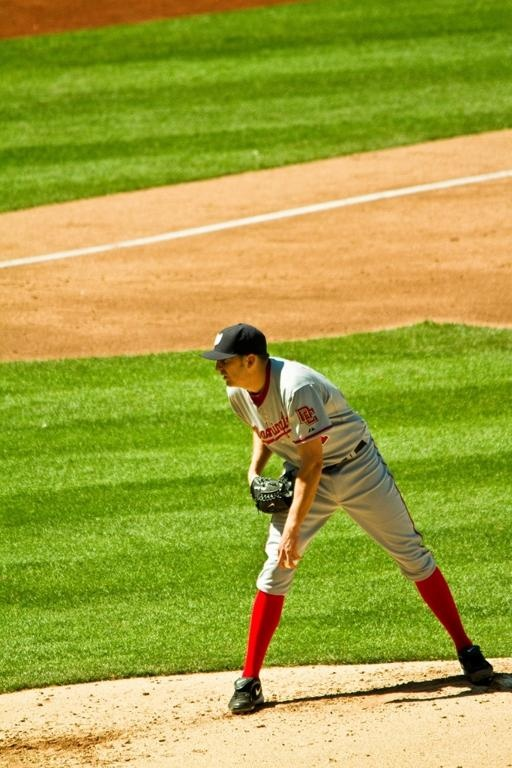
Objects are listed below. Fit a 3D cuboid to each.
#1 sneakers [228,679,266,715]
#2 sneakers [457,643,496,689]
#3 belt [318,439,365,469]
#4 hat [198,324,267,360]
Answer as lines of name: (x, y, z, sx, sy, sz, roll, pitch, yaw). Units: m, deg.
sneakers: (-0.061, 1.892, 10.416, 0.098, 0.170, 0.325, -2, -10, 14)
sneakers: (1.349, 1.711, 10.482, 0.130, 0.146, 0.324, -33, 47, 5)
belt: (0.550, 0.445, 10.462, 0.278, 0.174, 0.047, -5, 8, -12)
hat: (-0.098, -0.251, 10.355, 0.275, 0.206, 0.221, -1, 6, -5)
